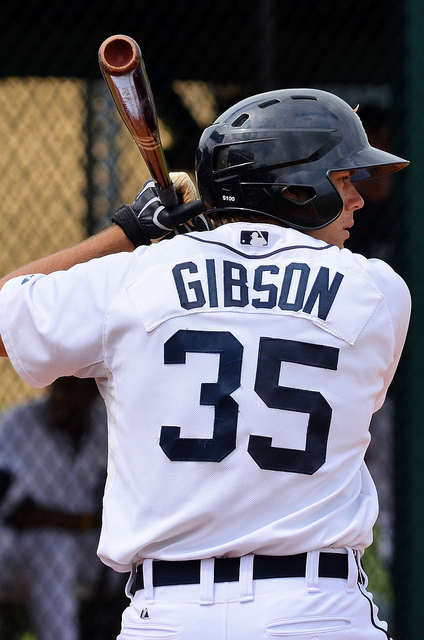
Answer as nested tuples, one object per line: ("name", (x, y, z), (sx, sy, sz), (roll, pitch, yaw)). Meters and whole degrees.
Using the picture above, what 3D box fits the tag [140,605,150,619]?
("tag", (-0.151, 0.668, 2.574), (0.024, 0.015, 0.030), (-5, 69, 5))

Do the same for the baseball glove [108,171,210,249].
("baseball glove", (-0.137, -0.304, 2.988), (0.270, 0.096, 0.201), (-9, 18, 26))

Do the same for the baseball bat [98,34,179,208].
("baseball bat", (-0.116, -0.483, 2.757), (0.091, 0.593, 0.093), (4, 56, 21))
